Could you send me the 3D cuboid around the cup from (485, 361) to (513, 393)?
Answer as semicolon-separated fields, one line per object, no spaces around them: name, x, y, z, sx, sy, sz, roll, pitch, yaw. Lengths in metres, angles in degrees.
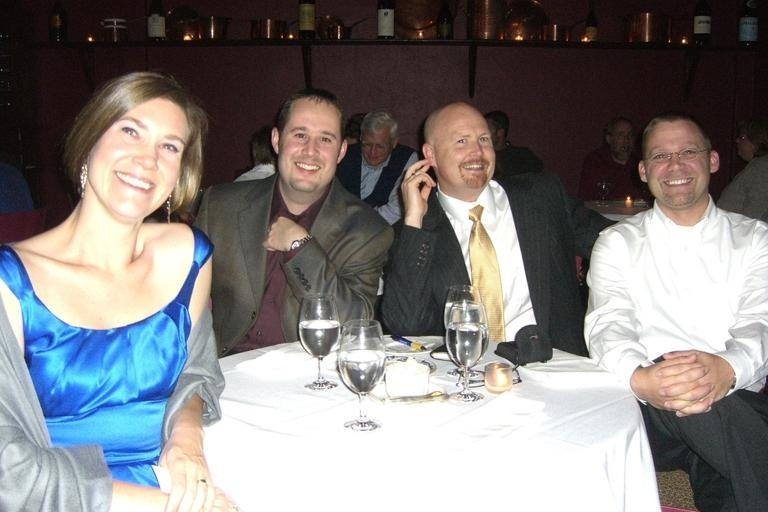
cup;0.404;0.418;2.316;0.095;0.081;0.095;0;7;0

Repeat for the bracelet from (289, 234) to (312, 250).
bracelet;-0.380;-0.056;3.036;0.080;0.029;0.062;-28;-1;3

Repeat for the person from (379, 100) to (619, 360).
person;0.493;-0.091;3.265;1.030;1.377;0.497;1;-7;-5
